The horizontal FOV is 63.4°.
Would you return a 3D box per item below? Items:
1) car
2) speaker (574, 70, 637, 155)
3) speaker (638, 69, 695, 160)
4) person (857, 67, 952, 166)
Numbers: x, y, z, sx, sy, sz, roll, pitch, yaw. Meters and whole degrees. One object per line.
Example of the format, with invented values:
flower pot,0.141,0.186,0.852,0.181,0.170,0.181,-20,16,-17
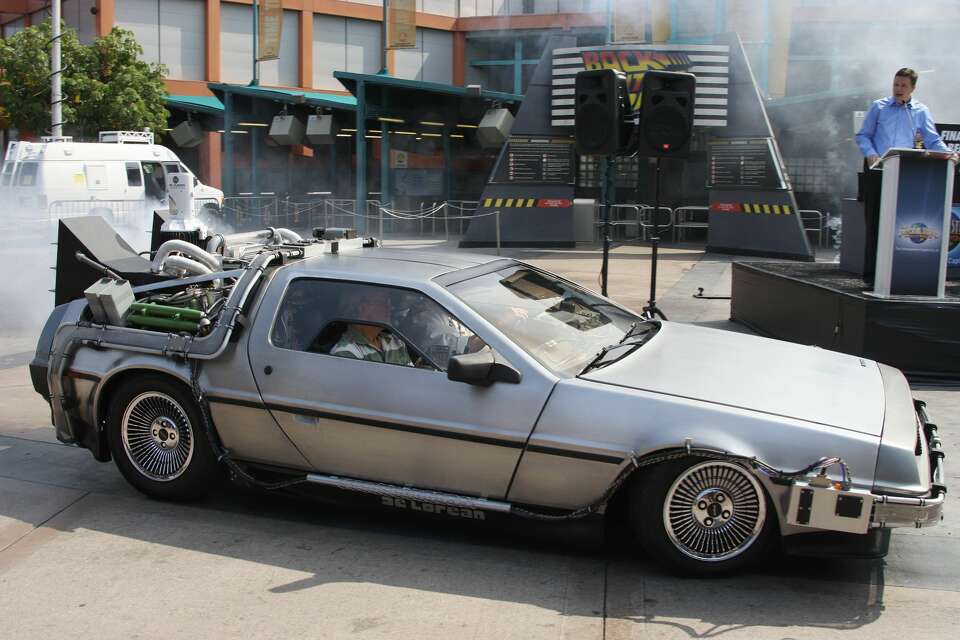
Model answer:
car,-0.115,0.481,5.970,5.889,1.794,2.790,4,12,13
speaker,1.746,-2.854,10.847,0.879,1.091,0.848,-2,11,-12
speaker,2.519,-2.776,10.522,0.701,1.133,0.449,3,15,10
person,4.740,-2.269,8.750,0.818,1.043,0.340,0,15,0
